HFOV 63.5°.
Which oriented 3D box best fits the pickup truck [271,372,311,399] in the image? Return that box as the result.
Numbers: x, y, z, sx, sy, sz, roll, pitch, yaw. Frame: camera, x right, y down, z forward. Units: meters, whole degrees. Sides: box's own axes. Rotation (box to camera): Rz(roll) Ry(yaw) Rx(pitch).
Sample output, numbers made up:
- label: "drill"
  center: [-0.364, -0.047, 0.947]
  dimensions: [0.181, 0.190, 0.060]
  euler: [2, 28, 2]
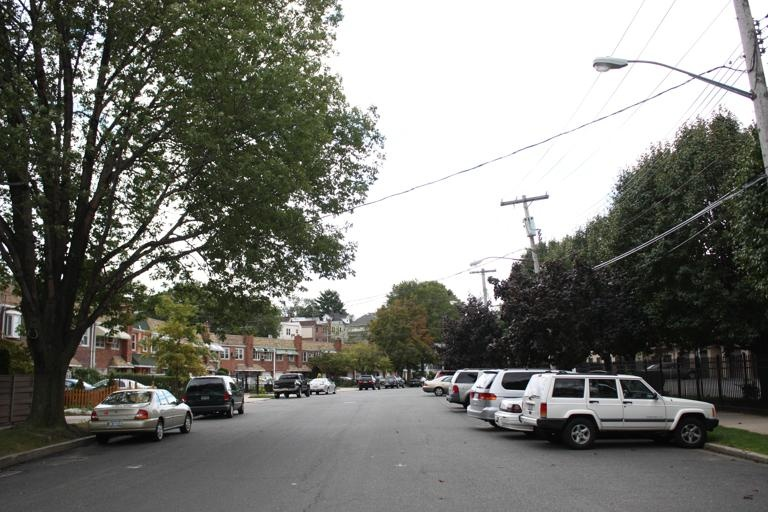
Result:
- label: "pickup truck"
  center: [-8.514, 12.275, 58.935]
  dimensions: [1.810, 1.490, 4.048]
  euler: [-2, -16, 3]

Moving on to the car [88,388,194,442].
- label: "car"
  center: [-9.412, 6.359, 24.652]
  dimensions: [2.568, 1.981, 4.495]
  euler: [-9, -17, 19]

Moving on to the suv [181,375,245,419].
- label: "suv"
  center: [-9.088, 7.799, 34.932]
  dimensions: [1.750, 1.570, 4.013]
  euler: [-1, -7, 3]
